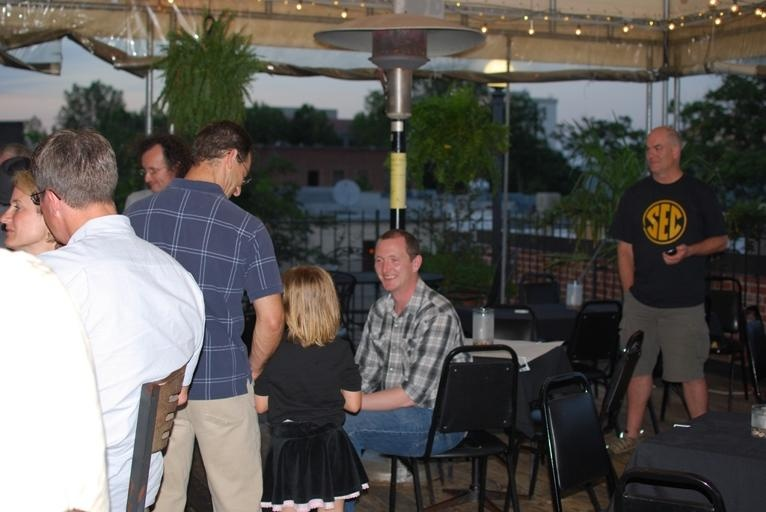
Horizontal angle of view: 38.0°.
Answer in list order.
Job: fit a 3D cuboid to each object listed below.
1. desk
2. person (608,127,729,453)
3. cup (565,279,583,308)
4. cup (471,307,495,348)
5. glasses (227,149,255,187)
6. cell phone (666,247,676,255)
[{"bbox_3d":[-0.104,0.404,10.476,0.576,0.426,0.604,-1,7,-24],"label":"desk"},{"bbox_3d":[2.169,0.294,8.673,0.794,2.651,0.692,9,24,36],"label":"person"},{"bbox_3d":[1.674,0.339,9.620,0.163,0.332,0.204,-1,-2,11],"label":"cup"},{"bbox_3d":[0.715,0.512,7.875,0.183,0.371,0.202,-2,3,-5],"label":"cup"},{"bbox_3d":[-0.887,-0.538,6.871,0.053,0.214,0.184,2,-3,3],"label":"glasses"},{"bbox_3d":[2.182,-0.044,8.386,0.060,0.054,0.065,2,-16,1],"label":"cell phone"}]
